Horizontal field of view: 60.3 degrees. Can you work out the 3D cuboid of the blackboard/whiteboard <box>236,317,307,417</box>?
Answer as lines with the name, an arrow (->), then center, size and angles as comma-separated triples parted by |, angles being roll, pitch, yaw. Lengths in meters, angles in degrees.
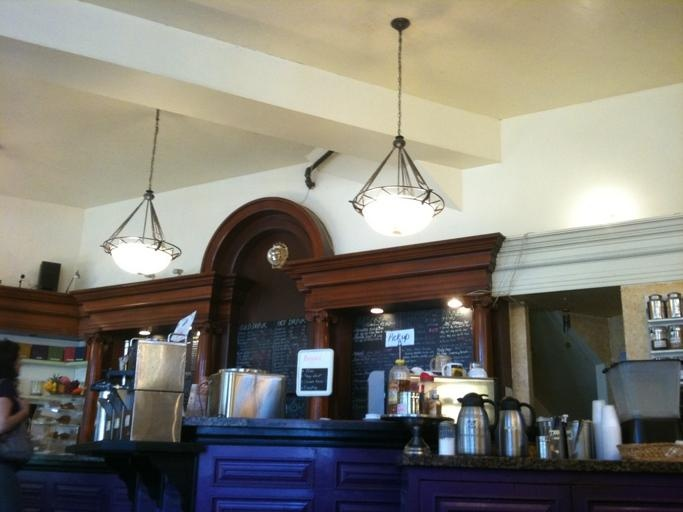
blackboard/whiteboard -> -0.631, 1.063, 5.670 | 0.949, 1.277, 0.062 | -10, -20, 26

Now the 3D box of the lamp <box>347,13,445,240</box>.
lamp -> 0.499, -1.217, 5.408 | 0.869, 1.967, 0.821 | 1, -6, 17

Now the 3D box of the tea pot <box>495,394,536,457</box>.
tea pot -> 0.940, 0.942, 3.249 | 0.162, 0.313, 0.283 | -3, -15, 14

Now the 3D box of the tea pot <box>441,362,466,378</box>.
tea pot -> 0.993, 0.993, 5.159 | 0.189, 0.200, 0.201 | 2, -10, 0

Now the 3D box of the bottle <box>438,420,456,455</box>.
bottle -> 0.607, 1.034, 3.367 | 0.094, 0.170, 0.186 | -2, -15, 9

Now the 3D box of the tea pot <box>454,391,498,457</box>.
tea pot -> 0.744, 0.932, 3.282 | 0.218, 0.334, 0.384 | -3, -15, 13

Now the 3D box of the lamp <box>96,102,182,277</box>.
lamp -> -2.314, -0.490, 7.023 | 0.885, 1.724, 2.131 | 7, -16, -22

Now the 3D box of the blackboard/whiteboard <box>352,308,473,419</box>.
blackboard/whiteboard -> 0.683, 0.968, 5.362 | 1.144, 0.944, 0.053 | -5, -10, 36
